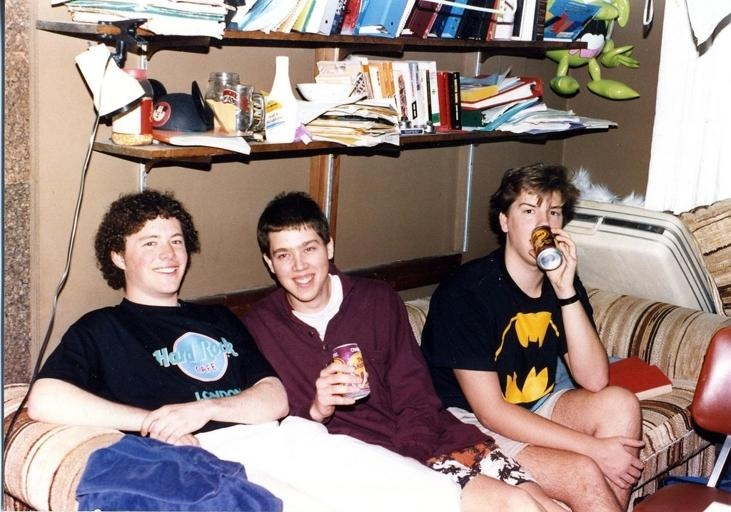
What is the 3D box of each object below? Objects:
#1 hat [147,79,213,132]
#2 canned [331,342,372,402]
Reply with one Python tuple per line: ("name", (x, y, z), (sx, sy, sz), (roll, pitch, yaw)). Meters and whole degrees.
("hat", (-0.655, -0.529, 2.018), (0.158, 0.077, 0.218), (-2, 26, -35))
("canned", (-0.041, 0.380, 1.849), (0.095, 0.242, 0.165), (-5, 16, -1))
